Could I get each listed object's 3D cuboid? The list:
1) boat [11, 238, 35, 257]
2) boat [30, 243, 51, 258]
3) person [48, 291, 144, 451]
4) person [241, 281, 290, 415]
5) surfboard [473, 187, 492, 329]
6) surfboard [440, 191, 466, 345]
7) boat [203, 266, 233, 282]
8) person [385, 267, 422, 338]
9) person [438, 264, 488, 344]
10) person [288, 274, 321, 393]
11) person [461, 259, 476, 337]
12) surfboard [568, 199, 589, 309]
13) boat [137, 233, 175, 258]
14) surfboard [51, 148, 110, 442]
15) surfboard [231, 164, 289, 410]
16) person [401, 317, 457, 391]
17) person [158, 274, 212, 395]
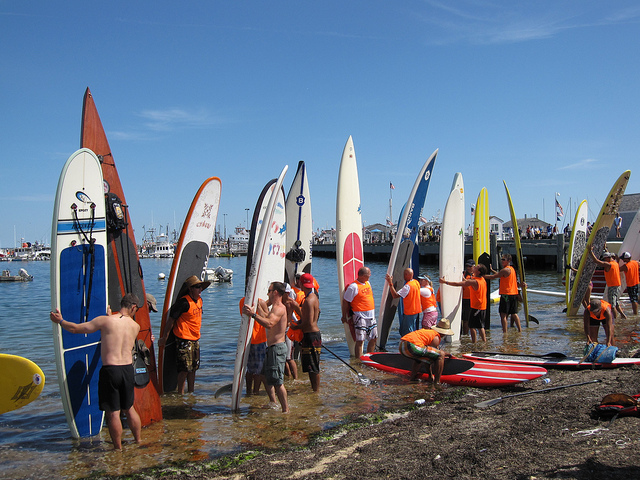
[{"bbox_3d":[-40.746,1.513,92.560,2.351,3.427,7.979,1,-2,-33],"label":"boat"},{"bbox_3d":[-39.612,1.400,95.427,1.922,1.400,10.812,-7,7,-24],"label":"boat"},{"bbox_3d":[-2.838,1.765,9.014,0.853,1.993,0.748,-3,6,8],"label":"person"},{"bbox_3d":[-0.837,1.536,9.823,0.746,1.872,0.712,1,3,-27],"label":"person"},{"bbox_3d":[3.432,0.505,14.428,0.349,3.222,0.304,4,-7,-16],"label":"surfboard"},{"bbox_3d":[2.669,0.687,13.750,0.559,3.153,0.352,5,-6,-26],"label":"surfboard"},{"bbox_3d":[-5.849,2.015,38.578,1.282,0.841,3.522,-6,7,-15],"label":"boat"},{"bbox_3d":[1.580,1.304,12.580,0.675,1.566,0.683,4,7,39],"label":"person"},{"bbox_3d":[2.904,1.350,13.960,1.123,1.749,0.882,1,4,-2],"label":"person"},{"bbox_3d":[-0.234,1.557,10.867,0.407,1.724,1.006,-4,6,-3],"label":"person"},{"bbox_3d":[3.091,1.283,14.377,0.289,1.739,0.186,1,14,-8],"label":"person"},{"bbox_3d":[6.255,0.514,16.401,0.520,2.807,0.228,14,-6,-40],"label":"surfboard"},{"bbox_3d":[-25.562,1.363,105.426,3.368,5.077,11.277,0,-3,-34],"label":"boat"},{"bbox_3d":[-3.382,0.426,9.549,0.794,3.964,0.357,-9,41,-28],"label":"surfboard"},{"bbox_3d":[-0.934,1.082,10.831,0.196,3.738,0.392,-1,-13,42],"label":"surfboard"},{"bbox_3d":[1.717,1.857,10.945,0.781,1.018,0.659,-3,6,11],"label":"person"},{"bbox_3d":[-2.122,1.549,10.732,0.744,1.913,0.692,-4,6,-2],"label":"person"}]
